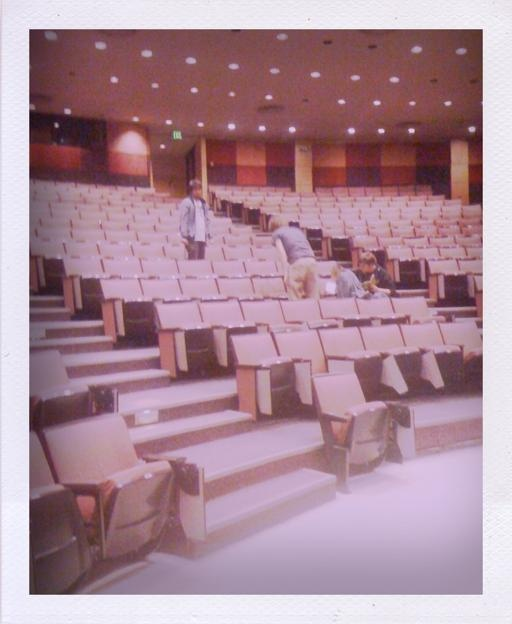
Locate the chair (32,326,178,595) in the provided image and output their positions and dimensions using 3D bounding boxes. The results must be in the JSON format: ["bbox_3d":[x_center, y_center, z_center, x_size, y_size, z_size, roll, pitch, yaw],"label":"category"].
[{"bbox_3d":[-0.173,0.187,0.624,0.206,0.255,0.151,-4,-4,45],"label":"chair"}]
